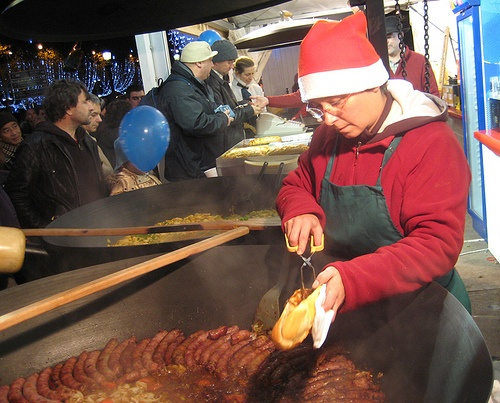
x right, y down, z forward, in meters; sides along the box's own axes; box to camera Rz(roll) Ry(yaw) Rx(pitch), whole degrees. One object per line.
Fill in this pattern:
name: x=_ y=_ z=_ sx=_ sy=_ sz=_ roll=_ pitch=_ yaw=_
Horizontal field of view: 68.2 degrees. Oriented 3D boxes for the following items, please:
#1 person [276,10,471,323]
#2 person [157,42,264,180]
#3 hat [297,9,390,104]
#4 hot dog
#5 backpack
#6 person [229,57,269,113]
person: x=0.469 y=-0.078 z=1.710 sx=0.696 sy=1.708 sz=0.902 roll=9 pitch=17 yaw=23
person: x=-0.528 y=-1.036 z=4.335 sx=0.838 sy=1.651 sz=0.893 roll=4 pitch=16 yaw=10
hat: x=0.384 y=-0.633 z=1.596 sx=0.362 sy=0.340 sz=0.166 roll=-5 pitch=12 yaw=18
hot dog: x=0.196 y=0.463 z=1.423 sx=0.139 sy=0.256 sz=0.061 roll=40 pitch=4 yaw=35
backpack: x=-0.990 y=-1.032 z=4.227 sx=0.422 sy=0.804 sz=0.442 roll=0 pitch=17 yaw=-6
person: x=-0.060 y=-2.135 z=6.463 sx=0.629 sy=1.400 sz=0.672 roll=7 pitch=16 yaw=20
